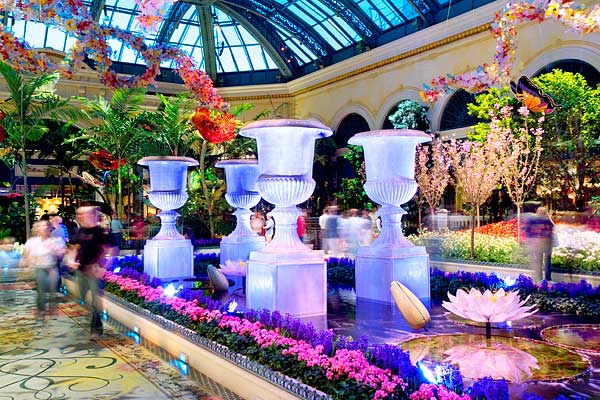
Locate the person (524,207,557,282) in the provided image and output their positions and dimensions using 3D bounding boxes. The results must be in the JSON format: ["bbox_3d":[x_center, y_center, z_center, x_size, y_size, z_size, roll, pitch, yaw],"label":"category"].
[{"bbox_3d":[3.751,0.680,6.525,0.579,1.175,0.398,1,-1,-42],"label":"person"}]
